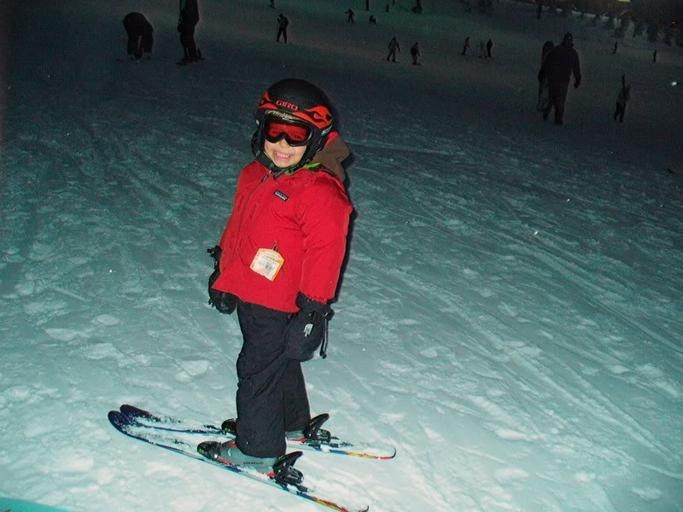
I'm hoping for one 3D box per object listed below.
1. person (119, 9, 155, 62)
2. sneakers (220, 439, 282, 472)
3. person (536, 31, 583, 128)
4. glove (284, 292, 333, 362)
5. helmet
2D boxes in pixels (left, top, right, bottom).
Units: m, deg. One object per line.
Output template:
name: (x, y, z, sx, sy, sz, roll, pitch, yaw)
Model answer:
person: (-4.592, -4.978, 12.810, 0.581, 1.036, 0.741, -2, 17, -29)
sneakers: (-0.545, 1.169, 3.403, 0.277, 0.097, 0.215, 17, -3, 2)
person: (4.974, -4.079, 12.985, 0.868, 2.069, 1.517, 12, 16, 18)
glove: (-0.184, 0.387, 3.158, 0.247, 0.383, 0.117, 2, 16, -17)
helmet: (-0.207, -0.771, 3.253, 0.502, 0.484, 0.532, 19, 19, 8)
